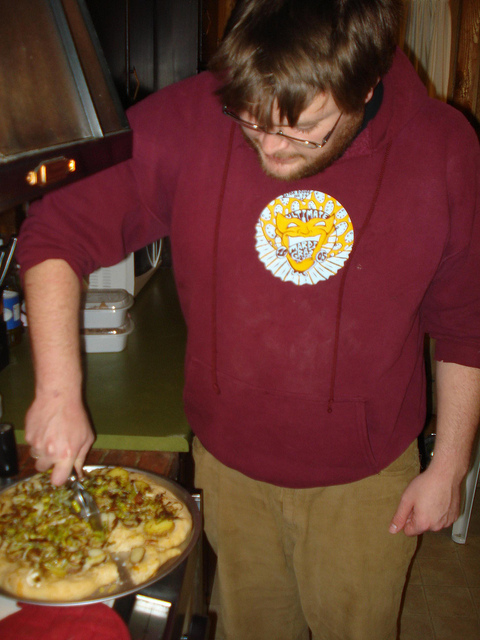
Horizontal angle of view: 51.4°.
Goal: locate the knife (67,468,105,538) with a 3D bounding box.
[{"bbox_3d":[-0.297,0.359,0.951,0.021,0.147,0.028,-20,-5,4],"label":"knife"}]
